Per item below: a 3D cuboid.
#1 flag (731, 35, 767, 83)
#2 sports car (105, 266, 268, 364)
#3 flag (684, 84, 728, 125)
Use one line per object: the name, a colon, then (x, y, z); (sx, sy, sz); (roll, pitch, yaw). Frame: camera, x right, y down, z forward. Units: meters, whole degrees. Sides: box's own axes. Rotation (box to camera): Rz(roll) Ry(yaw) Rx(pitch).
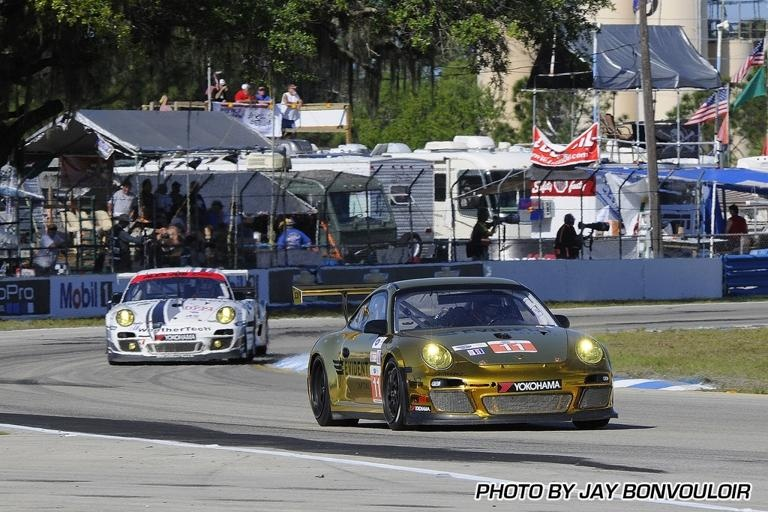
flag: (12.973, -6.869, 67.972); (0.812, 1.667, 6.516); (-4, 2, 16)
sports car: (-4.457, 1.310, 41.967); (3.441, 2.014, 1.856); (-4, 3, -8)
flag: (11.083, -5.243, 65.877); (1.557, 1.352, 6.335); (-3, 2, 10)
